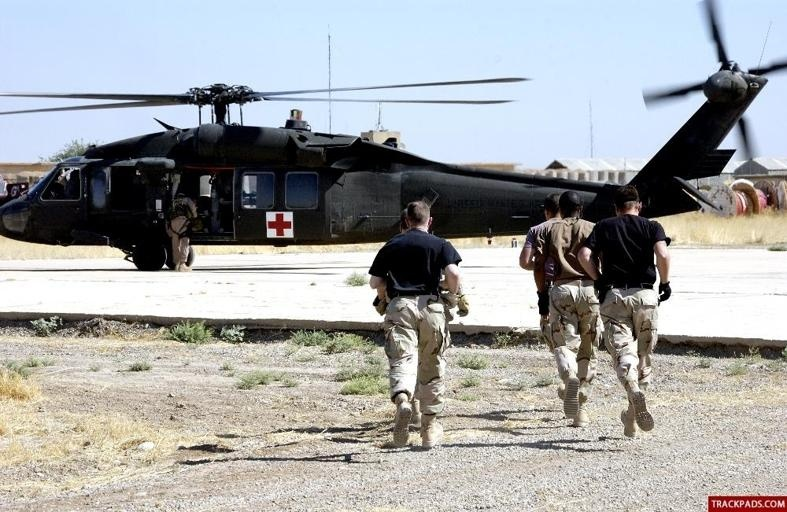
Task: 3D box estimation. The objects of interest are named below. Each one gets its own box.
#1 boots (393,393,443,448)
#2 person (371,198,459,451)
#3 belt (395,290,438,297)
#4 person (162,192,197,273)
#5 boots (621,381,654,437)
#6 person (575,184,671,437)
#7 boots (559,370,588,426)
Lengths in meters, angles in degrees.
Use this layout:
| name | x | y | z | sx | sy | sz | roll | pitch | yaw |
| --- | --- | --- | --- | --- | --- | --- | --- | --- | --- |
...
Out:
| name | x | y | z | sx | sy | sz | roll | pitch | yaw |
| --- | --- | --- | --- | --- | --- | --- | --- | --- | --- |
| boots | 0.314 | 2.125 | 14.783 | 0.646 | 0.734 | 0.476 | -1 | 15 | 2 |
| person | 0.275 | 0.899 | 14.892 | 1.103 | 3.024 | 1.291 | 3 | 16 | 16 |
| belt | 0.306 | 0.489 | 14.944 | 0.580 | 0.085 | 0.056 | -2 | 15 | -2 |
| person | -5.191 | -0.551 | 27.240 | 0.731 | 1.836 | 0.418 | -4 | 15 | -11 |
| boots | 3.191 | 2.030 | 14.656 | 0.273 | 0.816 | 0.366 | 2 | 35 | -1 |
| person | 3.276 | 0.696 | 15.084 | 1.067 | 3.060 | 1.289 | -8 | 16 | -24 |
| boots | 2.458 | 1.945 | 15.197 | 0.275 | 0.756 | 0.342 | -4 | 6 | 0 |
